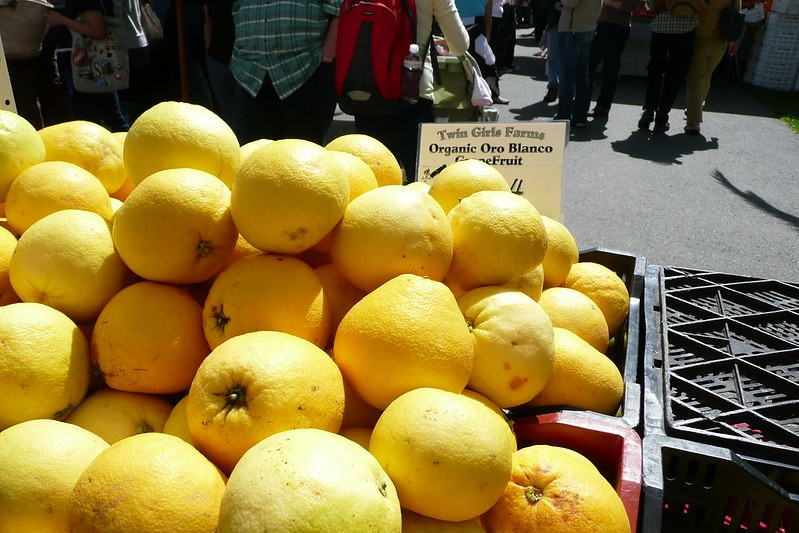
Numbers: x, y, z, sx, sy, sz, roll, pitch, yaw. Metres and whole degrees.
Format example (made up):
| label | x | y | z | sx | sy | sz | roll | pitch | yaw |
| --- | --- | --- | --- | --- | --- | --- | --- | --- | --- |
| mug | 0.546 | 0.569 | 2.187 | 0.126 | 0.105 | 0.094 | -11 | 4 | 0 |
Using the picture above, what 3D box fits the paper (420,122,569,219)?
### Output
| label | x | y | z | sx | sy | sz | roll | pitch | yaw |
| --- | --- | --- | --- | --- | --- | --- | --- | --- | --- |
| paper | 0.496 | -0.493 | 3.151 | 0.515 | 0.609 | 0.055 | -2 | -1 | 1 |
